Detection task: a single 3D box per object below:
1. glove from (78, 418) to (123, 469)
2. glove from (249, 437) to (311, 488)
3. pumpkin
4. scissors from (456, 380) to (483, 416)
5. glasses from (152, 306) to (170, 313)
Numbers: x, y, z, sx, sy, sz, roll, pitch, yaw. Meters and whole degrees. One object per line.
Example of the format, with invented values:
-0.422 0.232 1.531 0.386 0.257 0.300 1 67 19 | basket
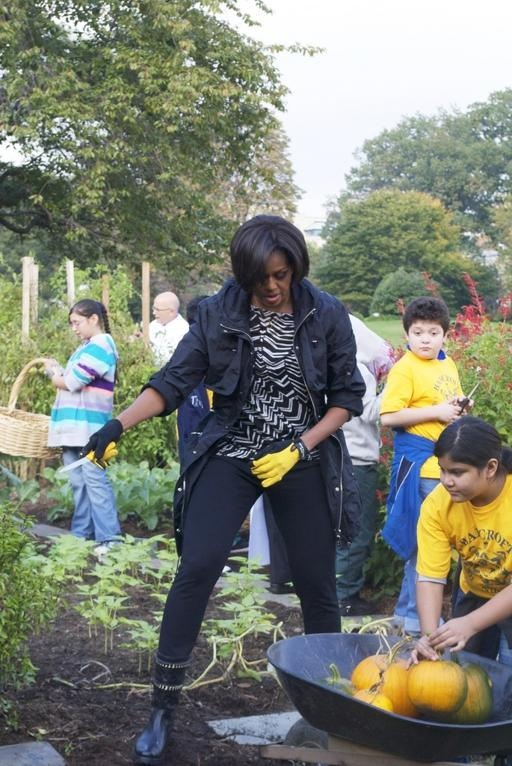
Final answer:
-0.477 0.205 2.334 0.117 0.079 0.162 -4 38 10 | glove
0.087 0.267 2.525 0.208 0.119 0.074 -40 0 4 | glove
0.458 0.859 2.085 0.322 0.119 0.239 6 -11 10 | pumpkin
1.148 0.088 3.986 0.042 0.230 0.054 40 -3 13 | scissors
-0.983 -0.736 7.484 0.059 0.090 0.100 5 4 38 | glasses
